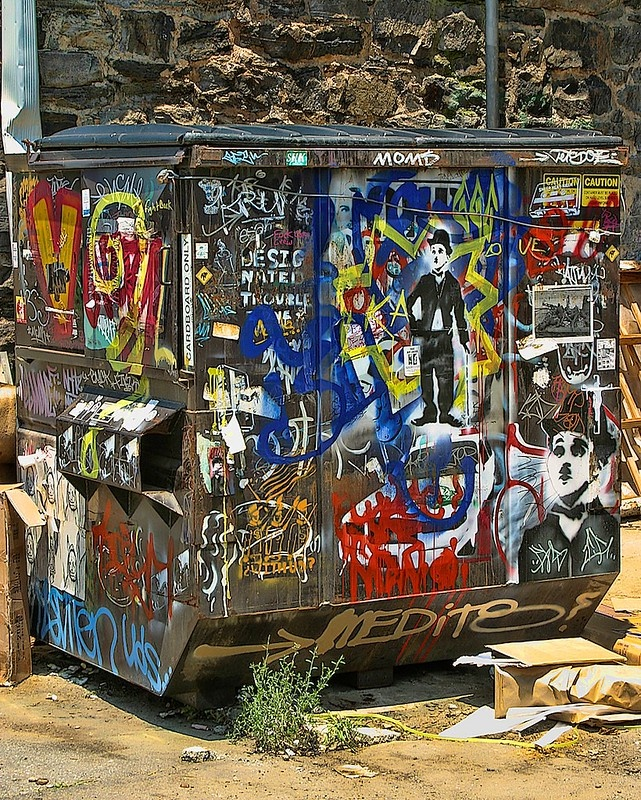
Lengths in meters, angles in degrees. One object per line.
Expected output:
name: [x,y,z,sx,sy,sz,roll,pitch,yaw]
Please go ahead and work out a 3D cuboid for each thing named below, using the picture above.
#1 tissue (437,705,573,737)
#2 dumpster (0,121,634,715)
tissue: [0.650,1.140,3.928,0.487,0.061,0.263,-3,4,-11]
dumpster: [0.280,-0.193,4.864,1.869,2.358,1.805,-1,19,-4]
